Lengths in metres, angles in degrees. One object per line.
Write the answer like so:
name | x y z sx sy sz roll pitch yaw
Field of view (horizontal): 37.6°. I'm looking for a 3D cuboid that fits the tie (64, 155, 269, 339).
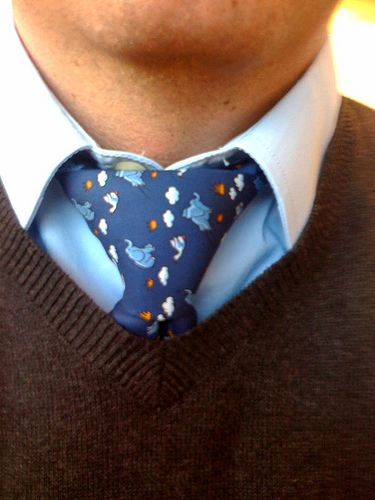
tie | -0.030 -0.002 0.577 0.264 0.194 0.061 1 -2 -7
